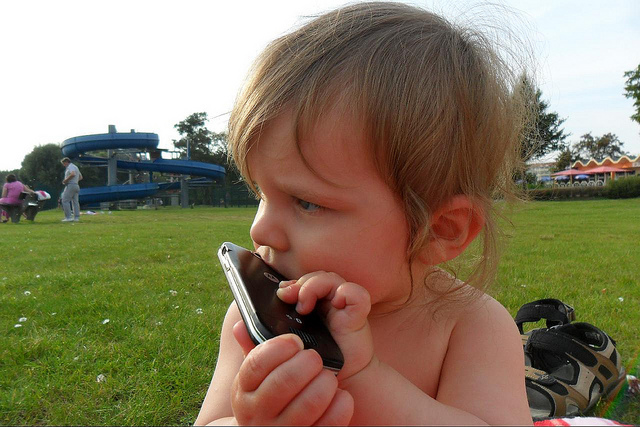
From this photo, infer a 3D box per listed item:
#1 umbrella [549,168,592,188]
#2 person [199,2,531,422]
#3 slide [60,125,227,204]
[{"bbox_3d":[23.363,-3.281,45.120,2.192,1.651,2.432,-11,12,-20],"label":"umbrella"},{"bbox_3d":[0.247,-0.035,2.392,1.463,2.086,0.788,-3,9,-15],"label":"person"},{"bbox_3d":[-10.576,-3.091,28.620,6.286,4.184,9.595,2,10,16],"label":"slide"}]
